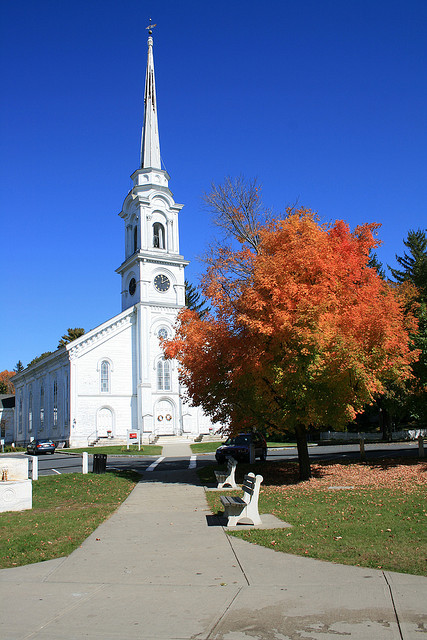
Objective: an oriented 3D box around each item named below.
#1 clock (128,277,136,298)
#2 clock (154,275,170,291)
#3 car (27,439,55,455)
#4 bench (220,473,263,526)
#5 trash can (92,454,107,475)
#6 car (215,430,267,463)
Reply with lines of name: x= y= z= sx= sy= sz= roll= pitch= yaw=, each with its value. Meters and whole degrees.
clock: x=-7.953 y=-3.050 z=57.007 sx=0.155 sy=1.751 sz=1.717 roll=2 pitch=-13 yaw=-27
clock: x=-5.000 y=-3.514 z=56.062 sx=1.480 sy=1.479 sz=0.111 roll=8 pitch=-25 yaw=-37
car: x=-12.156 y=8.856 z=41.231 sx=1.065 sy=0.735 sz=2.445 roll=3 pitch=-7 yaw=-25
bench: x=0.477 y=3.269 z=10.734 sx=0.680 sy=0.811 sz=1.188 roll=0 pitch=-10 yaw=-7
trash can: x=-4.359 y=5.514 z=22.456 sx=0.488 sy=0.679 sz=1.430 roll=-2 pitch=-12 yaw=-11
car: x=1.188 y=5.953 z=27.713 sx=1.604 sy=1.413 sz=3.319 roll=-12 pitch=-18 yaw=25
